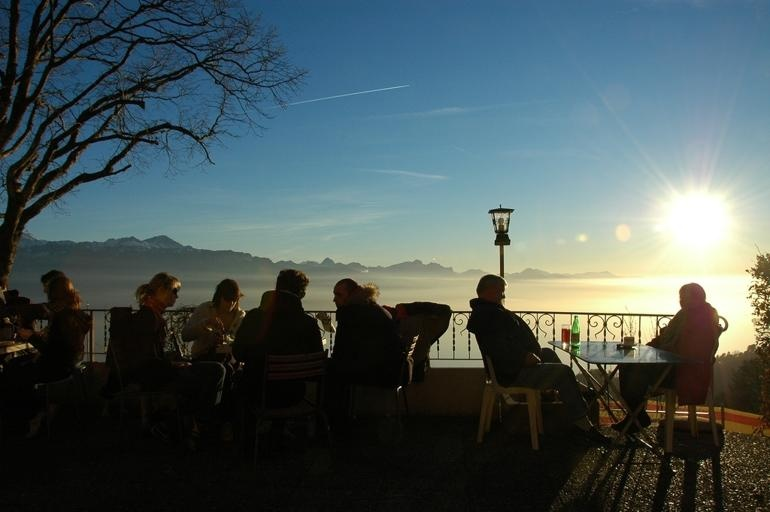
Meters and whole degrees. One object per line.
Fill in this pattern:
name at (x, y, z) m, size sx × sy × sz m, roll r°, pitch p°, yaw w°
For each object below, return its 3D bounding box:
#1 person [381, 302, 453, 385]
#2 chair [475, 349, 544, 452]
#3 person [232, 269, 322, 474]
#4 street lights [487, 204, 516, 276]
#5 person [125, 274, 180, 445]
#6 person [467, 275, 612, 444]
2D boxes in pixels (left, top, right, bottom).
person at (0.547, 1.109, 7.966) m, size 0.884 × 1.027 × 1.020 m, roll 2°, pitch -1°, yaw -25°
chair at (1.551, 1.756, 7.583) m, size 0.849 × 1.039 × 0.841 m, roll 5°, pitch -9°, yaw -4°
person at (-1.211, 1.234, 6.956) m, size 1.077 × 2.160 × 0.723 m, roll 0°, pitch -4°, yaw 11°
street lights at (2.070, -0.268, 10.781) m, size 0.381 × 1.257 × 0.854 m, roll 0°, pitch -4°, yaw 11°
person at (-2.752, 1.207, 7.325) m, size 0.621 × 2.001 × 0.891 m, roll 2°, pitch -4°, yaw -20°
person at (1.667, 1.131, 7.292) m, size 1.320 × 1.803 × 0.372 m, roll 0°, pitch -4°, yaw 6°
